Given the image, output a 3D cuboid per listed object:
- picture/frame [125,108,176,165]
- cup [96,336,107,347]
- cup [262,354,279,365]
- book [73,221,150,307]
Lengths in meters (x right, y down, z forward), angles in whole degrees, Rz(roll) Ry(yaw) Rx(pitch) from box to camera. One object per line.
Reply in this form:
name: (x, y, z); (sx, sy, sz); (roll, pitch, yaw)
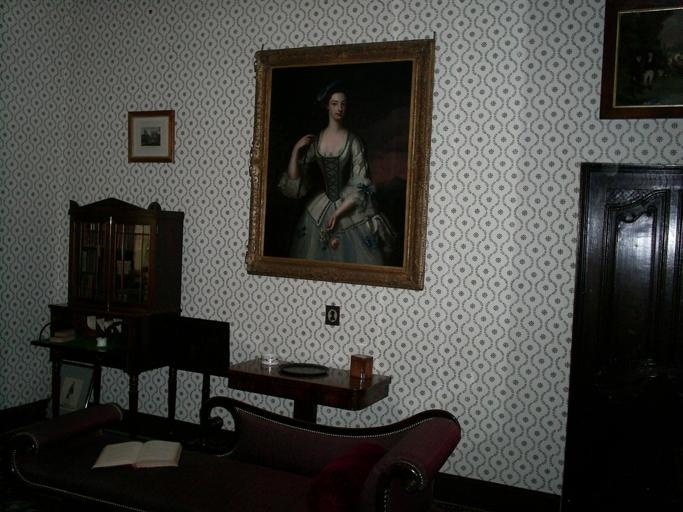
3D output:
picture/frame: (-1.861, -1.151, 5.677); (0.452, 0.556, 0.053); (2, 5, 18)
cup: (-2.281, 0.816, 5.477); (0.082, 0.091, 0.083); (0, -6, 0)
cup: (-0.628, 0.884, 4.952); (0.091, 0.066, 0.098); (0, 0, 0)
book: (-2.136, 0.090, 5.418); (0.641, 0.830, 0.079); (0, 3, 12)
